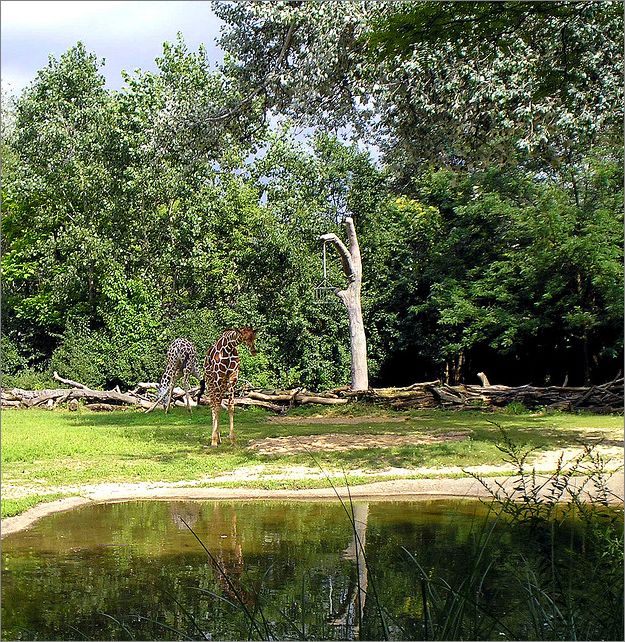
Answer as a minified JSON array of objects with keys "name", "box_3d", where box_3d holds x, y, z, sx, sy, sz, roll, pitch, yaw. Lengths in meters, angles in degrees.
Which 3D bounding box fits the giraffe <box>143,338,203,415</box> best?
[{"name":"giraffe","box_3d":[-3.307,1.368,18.717,0.805,1.833,1.730,6,-7,-32]}]
